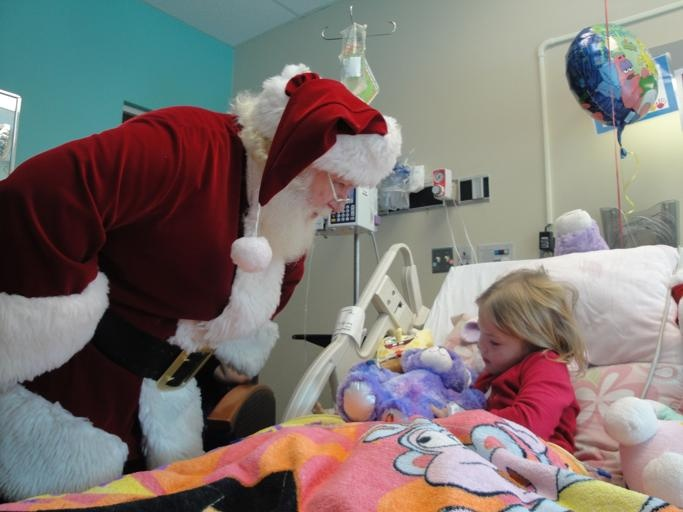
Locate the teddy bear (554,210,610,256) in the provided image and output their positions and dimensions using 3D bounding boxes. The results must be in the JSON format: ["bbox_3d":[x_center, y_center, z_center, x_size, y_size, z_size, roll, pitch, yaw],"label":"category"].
[{"bbox_3d":[0.912,-0.068,1.968,0.145,0.205,0.204,-23,-13,39],"label":"teddy bear"}]

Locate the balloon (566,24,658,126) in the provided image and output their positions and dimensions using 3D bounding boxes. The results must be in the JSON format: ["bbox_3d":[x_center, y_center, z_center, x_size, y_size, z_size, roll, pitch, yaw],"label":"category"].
[{"bbox_3d":[1.130,-0.743,2.144,0.434,0.273,0.342,18,46,33],"label":"balloon"}]

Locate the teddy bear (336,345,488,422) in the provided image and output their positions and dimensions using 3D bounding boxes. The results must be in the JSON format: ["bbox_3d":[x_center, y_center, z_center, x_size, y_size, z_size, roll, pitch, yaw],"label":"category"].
[{"bbox_3d":[0.193,0.310,1.391,0.223,0.111,0.262,10,4,37],"label":"teddy bear"}]

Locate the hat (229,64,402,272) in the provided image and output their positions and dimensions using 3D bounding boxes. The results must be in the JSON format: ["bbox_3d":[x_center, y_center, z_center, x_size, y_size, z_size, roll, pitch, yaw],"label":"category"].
[{"bbox_3d":[-0.040,-0.244,1.515,0.476,0.541,0.425,0,-4,18],"label":"hat"}]
